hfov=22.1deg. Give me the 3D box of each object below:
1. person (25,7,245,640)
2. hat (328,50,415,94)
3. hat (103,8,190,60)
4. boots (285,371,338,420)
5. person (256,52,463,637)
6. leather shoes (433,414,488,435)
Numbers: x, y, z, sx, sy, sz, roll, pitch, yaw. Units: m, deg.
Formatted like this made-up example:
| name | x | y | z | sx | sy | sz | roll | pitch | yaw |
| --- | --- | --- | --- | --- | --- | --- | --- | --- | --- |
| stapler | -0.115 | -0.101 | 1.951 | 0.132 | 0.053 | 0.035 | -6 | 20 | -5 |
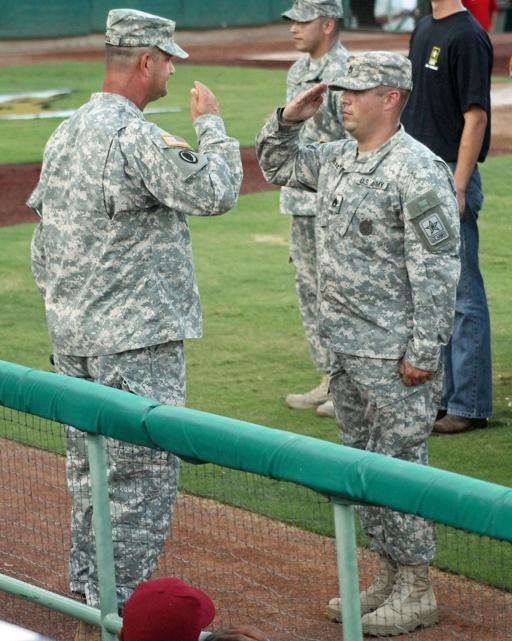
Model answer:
| name | x | y | z | sx | sy | sz | roll | pitch | yaw |
| --- | --- | --- | --- | --- | --- | --- | --- | --- | --- |
| person | -0.392 | -0.062 | 4.171 | 0.737 | 1.821 | 0.773 | -3 | 16 | 0 |
| hat | 0.389 | -0.807 | 4.256 | 0.245 | 0.086 | 0.150 | 0 | 5 | -6 |
| hat | -0.356 | -0.924 | 4.212 | 0.259 | 0.156 | 0.220 | -3 | 14 | -5 |
| boots | 0.274 | 0.359 | 6.051 | 0.335 | 0.184 | 0.112 | 5 | 1 | 19 |
| person | 0.396 | -0.219 | 4.391 | 0.395 | 1.337 | 0.728 | -12 | 18 | -27 |
| leather shoes | 0.893 | 0.458 | 5.798 | 0.293 | 0.097 | 0.088 | 5 | 2 | -18 |
